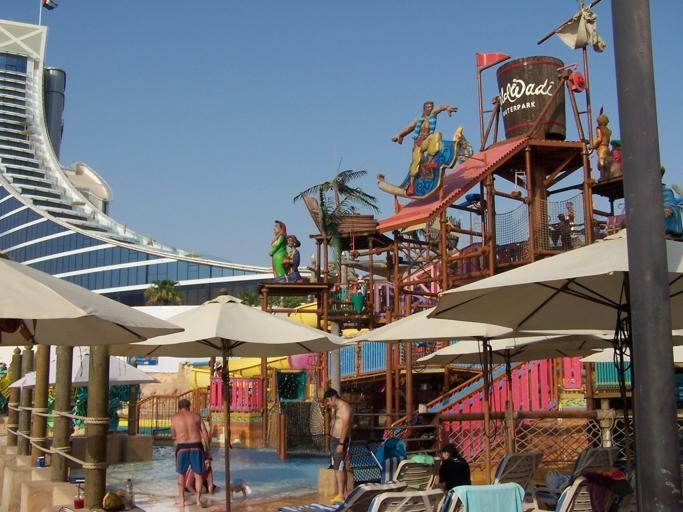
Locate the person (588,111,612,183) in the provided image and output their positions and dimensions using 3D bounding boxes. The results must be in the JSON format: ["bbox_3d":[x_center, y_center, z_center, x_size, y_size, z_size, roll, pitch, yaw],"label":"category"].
[{"bbox_3d":[7.141,-3.006,24.749,0.479,1.823,1.541,-4,-11,15],"label":"person"}]

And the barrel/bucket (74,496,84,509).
[{"bbox_3d":[-3.635,3.383,12.486,0.123,0.163,0.138,3,-10,-10],"label":"barrel/bucket"}]

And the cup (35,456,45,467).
[{"bbox_3d":[-5.396,3.629,16.095,0.145,0.137,0.168,-3,-18,8],"label":"cup"}]

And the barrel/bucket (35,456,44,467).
[{"bbox_3d":[-5.378,3.628,16.093,0.147,0.183,0.160,1,-9,0],"label":"barrel/bucket"}]

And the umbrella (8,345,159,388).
[{"bbox_3d":[-5.877,2.593,20.447,2.280,1.000,2.233,-1,-12,3],"label":"umbrella"}]

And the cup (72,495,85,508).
[{"bbox_3d":[-3.624,3.344,12.434,0.132,0.166,0.144,0,-15,0],"label":"cup"}]

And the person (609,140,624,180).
[{"bbox_3d":[7.480,-2.639,24.609,0.260,1.325,1.227,-4,-11,14],"label":"person"}]
